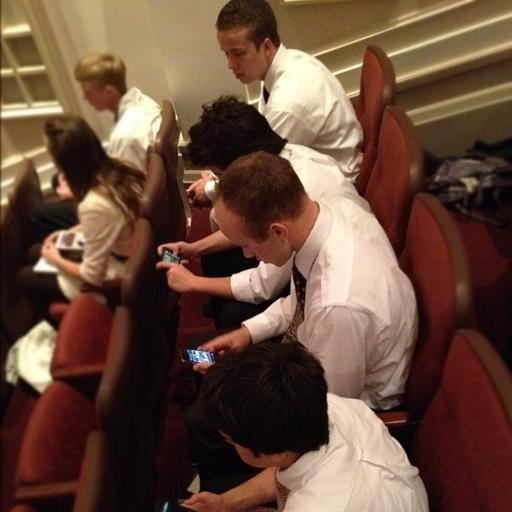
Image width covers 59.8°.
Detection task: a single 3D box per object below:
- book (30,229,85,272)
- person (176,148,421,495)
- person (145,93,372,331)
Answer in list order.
[{"bbox_3d":[-0.430,-0.018,1.023,0.016,0.082,0.075,19,11,16],"label":"book"},{"bbox_3d":[0.057,0.006,1.312,0.560,0.875,0.556,-22,24,13],"label":"person"},{"bbox_3d":[0.016,-0.147,1.438,0.509,0.814,0.344,-23,33,23],"label":"person"}]
